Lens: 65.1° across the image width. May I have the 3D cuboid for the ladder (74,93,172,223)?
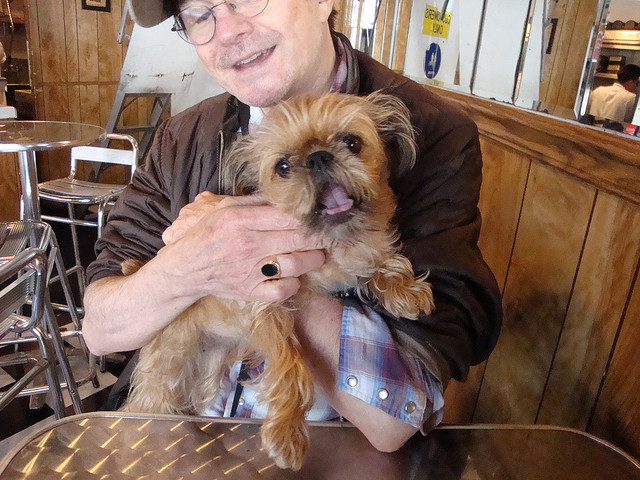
[{"bbox_3d":[-2.315,-1.044,5.940,0.976,1.487,1.911,-1,17,-19],"label":"ladder"}]

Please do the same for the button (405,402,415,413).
[{"bbox_3d":[0.247,0.466,1.390,0.027,0.023,0.015,4,16,-4],"label":"button"}]

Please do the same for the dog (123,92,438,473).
[{"bbox_3d":[-0.035,0.149,1.820,0.838,1.166,0.419,13,1,18],"label":"dog"}]

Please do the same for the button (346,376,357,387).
[{"bbox_3d":[0.089,0.401,1.417,0.024,0.027,0.006,-4,-15,13],"label":"button"}]

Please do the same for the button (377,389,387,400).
[{"bbox_3d":[0.173,0.431,1.397,0.022,0.025,0.006,-3,-17,5],"label":"button"}]
